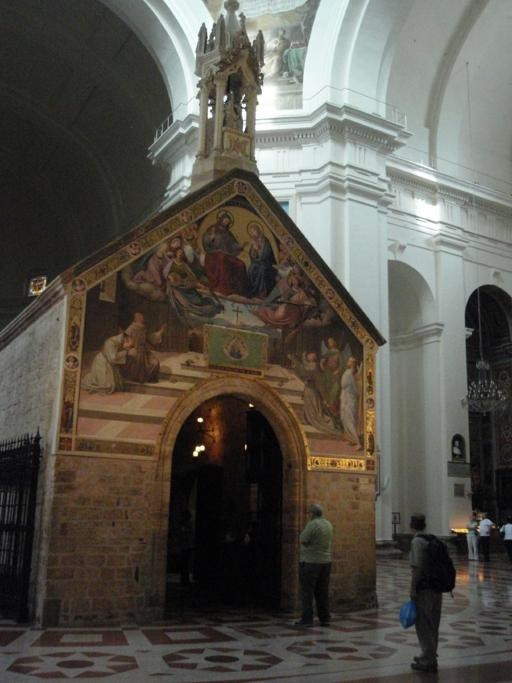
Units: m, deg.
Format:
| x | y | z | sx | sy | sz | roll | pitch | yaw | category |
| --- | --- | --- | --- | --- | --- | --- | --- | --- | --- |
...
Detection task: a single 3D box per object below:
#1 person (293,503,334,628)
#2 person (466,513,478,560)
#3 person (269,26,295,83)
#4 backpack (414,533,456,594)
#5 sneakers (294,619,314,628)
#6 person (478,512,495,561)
| x | y | z | sx | sy | sz | roll | pitch | yaw | category |
| --- | --- | --- | --- | --- | --- | --- | --- | --- | --- |
| 0.690 | 2.690 | 7.906 | 0.420 | 1.381 | 0.501 | -1 | -16 | 3 | person |
| 6.590 | 5.949 | 19.827 | 0.369 | 1.280 | 1.768 | -5 | -16 | 17 | person |
| 0.780 | -9.196 | 21.040 | 0.649 | 1.530 | 0.373 | 0 | -16 | 3 | person |
| 1.511 | 1.861 | 5.474 | 0.323 | 0.470 | 0.193 | 3 | -16 | -9 | backpack |
| 0.545 | 3.284 | 7.607 | 0.206 | 0.072 | 0.335 | -1 | -15 | 4 | sneakers |
| 6.947 | 5.902 | 19.760 | 0.419 | 1.344 | 2.069 | -5 | -16 | 18 | person |
